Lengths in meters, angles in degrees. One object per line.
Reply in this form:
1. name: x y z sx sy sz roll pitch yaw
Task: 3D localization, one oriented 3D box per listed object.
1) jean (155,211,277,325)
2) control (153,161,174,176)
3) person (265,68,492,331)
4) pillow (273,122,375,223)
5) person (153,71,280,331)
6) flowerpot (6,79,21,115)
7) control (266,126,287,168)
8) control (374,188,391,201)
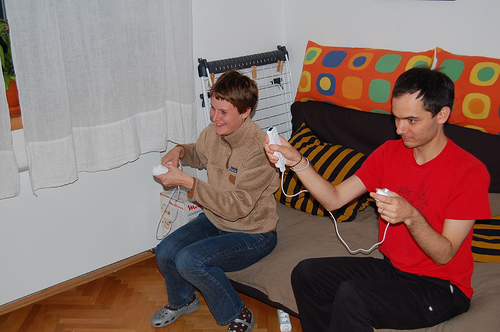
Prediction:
1. jean: -0.247 0.645 2.497 0.705 0.752 0.581 7 16 -40
2. control: -0.497 0.012 2.038 0.080 0.032 0.050 -42 21 -32
3. person: 0.715 0.234 1.812 0.955 1.377 0.520 -8 17 -15
4. pillow: 0.544 0.029 2.624 0.733 0.567 0.493 10 21 36
5. person: -0.221 0.247 2.272 0.782 1.606 0.575 1 17 12
6. flowerpot: -1.612 -0.471 2.466 0.071 0.222 0.113 -13 20 -31
7. control: 0.132 -0.095 1.823 0.095 0.212 0.084 5 19 26
8. control: 0.586 0.131 1.590 0.021 0.023 0.057 -23 24 -38
